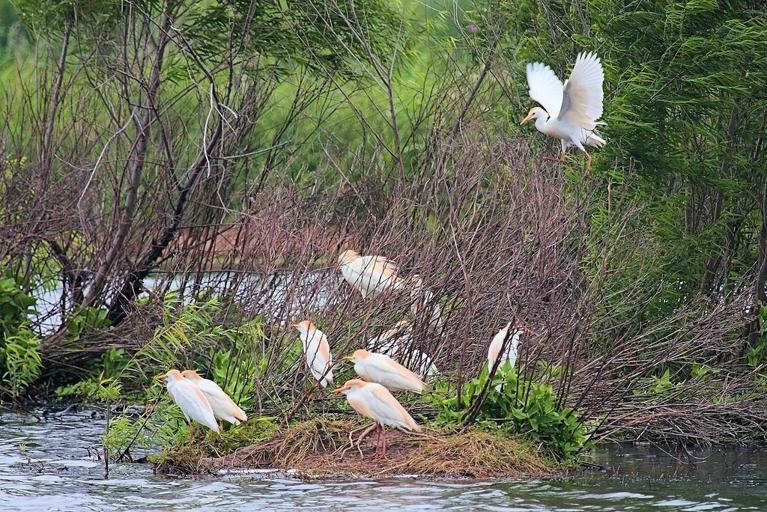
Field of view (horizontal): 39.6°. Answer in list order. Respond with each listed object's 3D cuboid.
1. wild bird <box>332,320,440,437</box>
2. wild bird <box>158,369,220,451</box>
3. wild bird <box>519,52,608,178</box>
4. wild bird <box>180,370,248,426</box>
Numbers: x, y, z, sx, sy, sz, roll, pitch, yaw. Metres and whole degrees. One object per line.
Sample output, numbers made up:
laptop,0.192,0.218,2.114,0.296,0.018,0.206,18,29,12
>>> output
wild bird,-0.020,1.209,12.302,0.520,0.688,1.587,-23,6,-23
wild bird,-2.116,1.731,11.598,0.500,0.782,0.883,9,17,-30
wild bird,2.424,-2.013,14.130,0.793,1.443,1.613,12,15,-19
wild bird,-1.962,1.507,11.684,0.292,0.393,0.922,-1,-17,43
